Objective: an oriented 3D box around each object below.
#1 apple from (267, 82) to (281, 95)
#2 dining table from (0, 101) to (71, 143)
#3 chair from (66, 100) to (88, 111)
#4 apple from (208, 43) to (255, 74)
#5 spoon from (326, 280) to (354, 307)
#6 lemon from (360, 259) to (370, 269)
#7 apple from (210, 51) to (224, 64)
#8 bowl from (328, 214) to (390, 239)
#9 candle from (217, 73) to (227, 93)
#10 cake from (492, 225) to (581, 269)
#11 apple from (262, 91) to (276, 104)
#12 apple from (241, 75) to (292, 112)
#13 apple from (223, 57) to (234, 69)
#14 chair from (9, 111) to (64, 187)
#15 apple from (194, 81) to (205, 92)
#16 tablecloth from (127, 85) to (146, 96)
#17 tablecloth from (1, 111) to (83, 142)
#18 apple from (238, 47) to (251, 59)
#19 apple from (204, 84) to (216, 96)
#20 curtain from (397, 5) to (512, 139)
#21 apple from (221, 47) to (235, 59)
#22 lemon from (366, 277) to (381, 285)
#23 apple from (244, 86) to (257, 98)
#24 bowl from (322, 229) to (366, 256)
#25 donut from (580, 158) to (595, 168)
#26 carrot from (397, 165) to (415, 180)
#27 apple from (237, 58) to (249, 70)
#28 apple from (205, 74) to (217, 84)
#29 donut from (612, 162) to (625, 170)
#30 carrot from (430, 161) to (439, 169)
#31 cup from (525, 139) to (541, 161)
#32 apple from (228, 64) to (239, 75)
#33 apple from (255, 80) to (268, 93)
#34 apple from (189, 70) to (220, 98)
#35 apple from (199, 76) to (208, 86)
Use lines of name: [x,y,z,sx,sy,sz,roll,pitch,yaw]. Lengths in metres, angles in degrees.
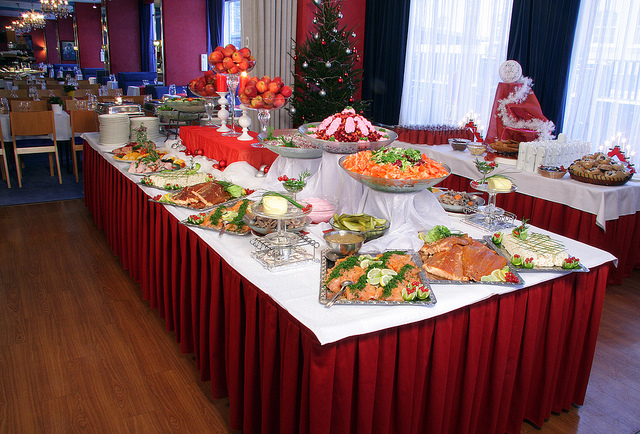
apple: [-0.368,-1.039,3.319,0.087,0.081,0.078,-6,2,29]
dining table: [-3.889,-1.311,5.872,0.709,0.312,0.722,-7,32,-18]
chair: [-3.507,-1.622,5.934,0.261,0.202,0.261,-11,27,-31]
apple: [-0.758,-1.314,3.496,0.279,0.171,0.272,-5,18,-18]
spoon: [0.086,0.320,1.784,0.055,0.029,0.174,23,69,37]
lemon: [0.206,0.210,1.893,0.056,0.021,0.030,-18,25,-40]
apple: [-0.863,-1.338,3.475,0.096,0.095,0.096,-3,-7,34]
bowl: [0.220,0.034,2.202,0.178,0.079,0.183,0,8,0]
candle: [-0.870,-1.218,3.726,0.078,0.158,0.160,-18,25,-41]
cake: [1.101,0.154,2.139,0.350,0.096,0.373,3,25,-7]
apple: [-0.401,-0.952,3.300,0.091,0.091,0.091,-40,74,-12]
apple: [-0.416,-1.025,3.299,0.333,0.181,0.311,-16,25,-33]
apple: [-0.765,-1.287,3.415,0.075,0.089,0.077,16,41,-24]
chair: [-3.991,-0.993,5.772,0.592,1.001,0.679,-13,22,-30]
apple: [-1.091,-1.190,3.724,0.082,0.083,0.093,5,0,-30]
tablecloth: [-4.298,-2.984,9.598,0.346,0.180,0.873,-9,21,-22]
tablecloth: [-3.810,-1.264,5.605,0.464,0.190,0.473,-5,27,-14]
apple: [-0.638,-1.419,3.491,0.078,0.081,0.093,-7,1,14]
apple: [-1.000,-1.165,3.732,0.072,0.088,0.075,24,65,-1]
curtain: [1.758,-2.105,5.700,0.344,1.750,1.686,-11,21,-27]
apple: [-0.772,-1.370,3.420,0.079,0.100,0.081,-2,26,-8]
lemon: [0.243,0.283,1.832,0.068,0.021,0.028,-8,20,-20]
apple: [-0.548,-1.003,3.262,0.080,0.085,0.099,14,17,7]
bowl: [0.158,0.139,2.079,0.204,0.090,0.199,-6,13,1]
donut: [2.242,-0.469,3.442,0.093,0.030,0.096,-10,28,-4]
carrot: [0.452,-0.237,2.200,0.069,0.027,0.071,-7,62,2]
apple: [-0.646,-1.286,3.450,0.088,0.087,0.090,7,53,-21]
apple: [-0.992,-1.260,3.732,0.090,0.081,0.043,-7,19,-16]
donut: [2.462,-0.435,3.403,0.085,0.030,0.085,-13,27,-20]
carrot: [0.636,-0.300,2.284,0.045,0.013,0.044,2,25,-1]
cup: [1.945,-0.614,3.673,0.139,0.204,0.145,6,6,-1]
apple: [-0.728,-1.245,3.468,0.067,0.084,0.070,-6,57,5]
apple: [-0.464,-1.044,3.325,0.085,0.091,0.086,16,-11,9]
apple: [-1.049,-1.290,3.765,0.201,0.114,0.199,-23,50,-29]
apple: [-1.062,-1.240,3.733,0.066,0.069,0.079,-26,33,-24]
